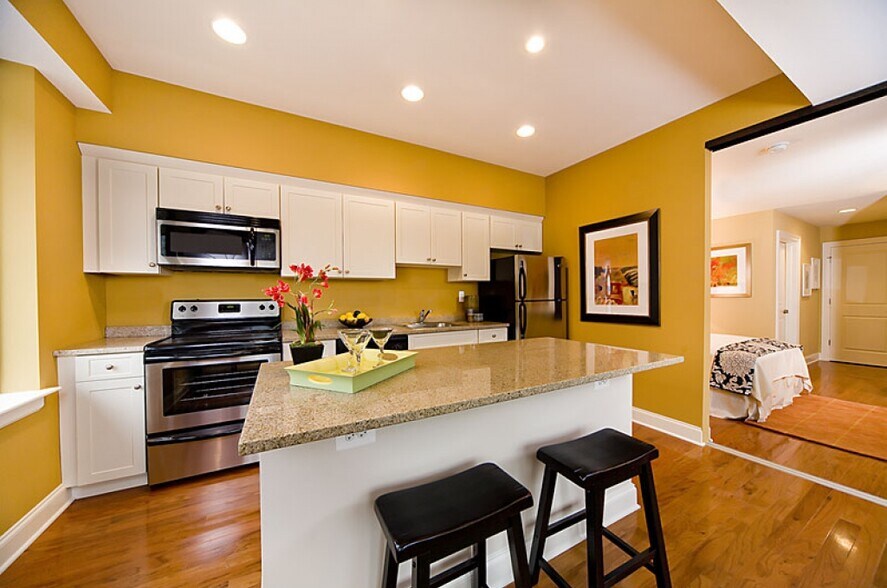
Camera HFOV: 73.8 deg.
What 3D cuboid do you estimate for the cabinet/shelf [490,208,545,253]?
[{"bbox_3d":[0.832,-0.691,7.190,0.720,0.384,0.233,3,-13,-25],"label":"cabinet/shelf"}]

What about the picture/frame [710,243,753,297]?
[{"bbox_3d":[3.835,-0.304,8.084,0.702,0.664,0.039,-3,2,-16],"label":"picture/frame"}]

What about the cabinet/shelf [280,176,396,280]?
[{"bbox_3d":[-1.108,-0.668,5.951,1.151,0.821,0.403,1,-3,-26],"label":"cabinet/shelf"}]

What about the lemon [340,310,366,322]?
[{"bbox_3d":[-0.900,0.250,6.041,0.159,0.082,0.158,0,3,3],"label":"lemon"}]

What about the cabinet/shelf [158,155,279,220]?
[{"bbox_3d":[-2.132,-0.907,5.666,0.922,0.395,0.284,1,-19,-30],"label":"cabinet/shelf"}]

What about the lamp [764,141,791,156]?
[{"bbox_3d":[3.340,-1.474,5.950,0.223,0.067,0.226,0,2,43],"label":"lamp"}]

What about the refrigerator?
[{"bbox_3d":[0.996,0.201,6.956,0.791,1.255,0.609,-1,0,-36],"label":"refrigerator"}]

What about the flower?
[{"bbox_3d":[-1.206,0.178,5.301,0.668,0.674,0.617,-4,-5,43],"label":"flower"}]

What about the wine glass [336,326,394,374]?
[{"bbox_3d":[-0.578,0.402,4.366,0.360,0.296,0.262,-2,2,-11],"label":"wine glass"}]

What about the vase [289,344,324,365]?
[{"bbox_3d":[-1.045,0.453,4.533,0.185,0.171,0.175,1,-3,-27],"label":"vase"}]

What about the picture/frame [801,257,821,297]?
[{"bbox_3d":[5.125,-0.222,8.312,0.579,0.568,0.040,-1,1,-31],"label":"picture/frame"}]

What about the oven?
[{"bbox_3d":[-2.331,1.110,5.572,0.854,1.149,1.237,5,3,40],"label":"oven"}]

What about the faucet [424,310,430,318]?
[{"bbox_3d":[-0.183,0.226,6.707,0.053,0.092,0.153,-1,2,16],"label":"faucet"}]
